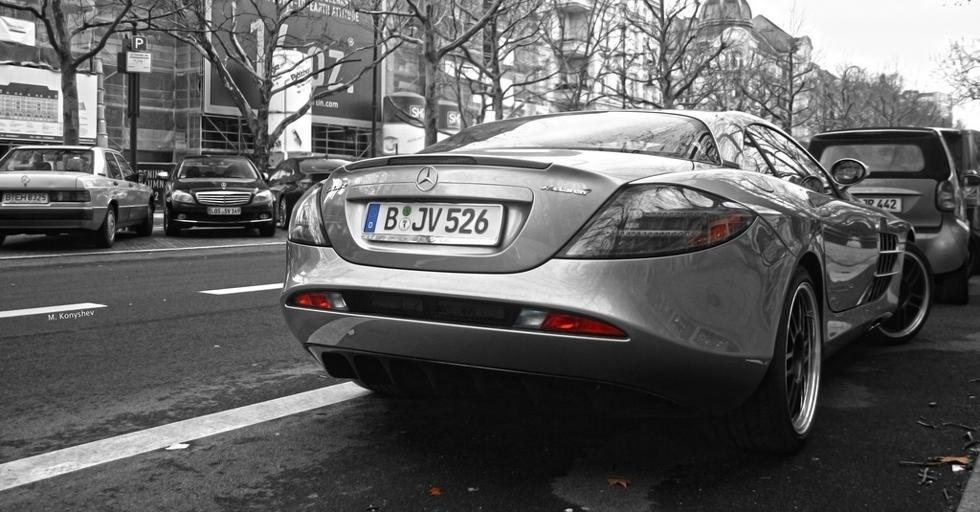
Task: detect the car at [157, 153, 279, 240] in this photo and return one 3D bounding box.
[{"bbox_3d":[-8.150,-1.768,17.154,3.102,2.360,1.737,-1,9,-9],"label":"car"}]

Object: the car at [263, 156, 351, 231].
[{"bbox_3d":[-7.622,-2.407,23.307,3.297,2.358,7.367,-1,4,-10],"label":"car"}]

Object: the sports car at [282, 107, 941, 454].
[{"bbox_3d":[0.858,0.106,3.995,4.265,2.351,1.797,-3,9,-24],"label":"sports car"}]
